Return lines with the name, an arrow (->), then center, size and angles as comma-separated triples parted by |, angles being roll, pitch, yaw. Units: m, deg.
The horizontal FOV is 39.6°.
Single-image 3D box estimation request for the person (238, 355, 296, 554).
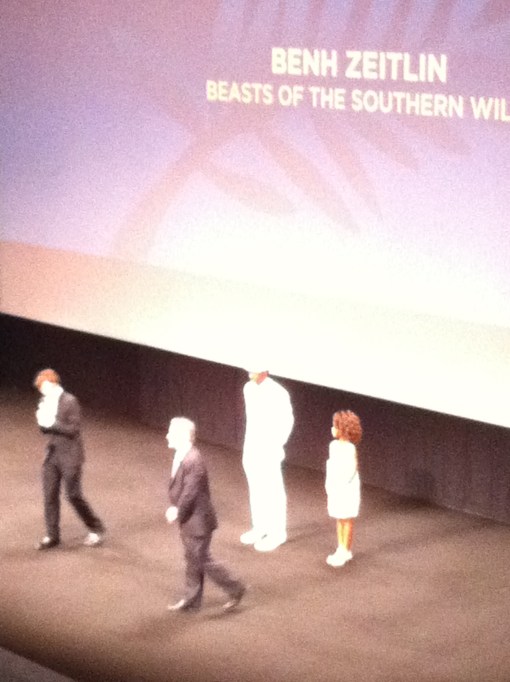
person -> 0.053, 0.664, 4.196 | 0.327, 1.216, 0.365 | -3, 11, -3
